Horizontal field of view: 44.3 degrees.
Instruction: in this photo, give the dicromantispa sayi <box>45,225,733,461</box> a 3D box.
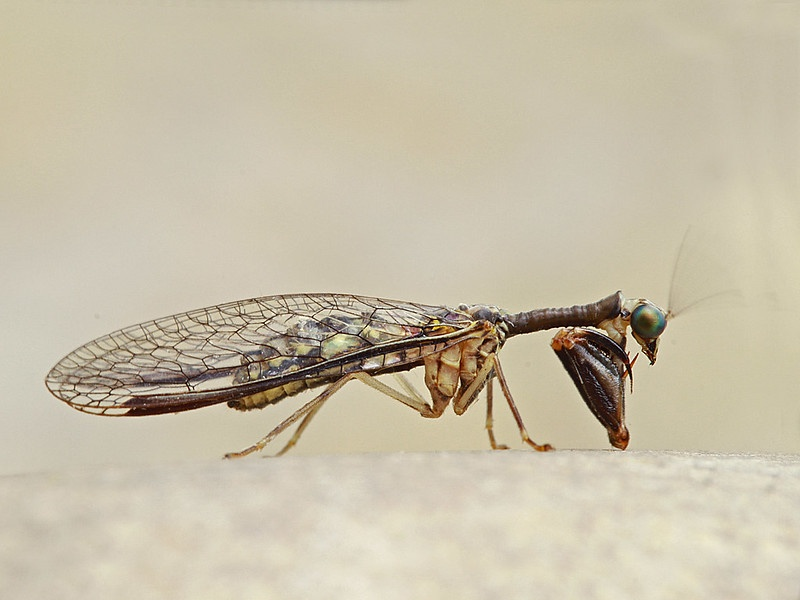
[{"bbox_3d":[-0.071,0.179,4.752,3.068,0.959,0.829,4,-62,-7],"label":"dicromantispa sayi"}]
